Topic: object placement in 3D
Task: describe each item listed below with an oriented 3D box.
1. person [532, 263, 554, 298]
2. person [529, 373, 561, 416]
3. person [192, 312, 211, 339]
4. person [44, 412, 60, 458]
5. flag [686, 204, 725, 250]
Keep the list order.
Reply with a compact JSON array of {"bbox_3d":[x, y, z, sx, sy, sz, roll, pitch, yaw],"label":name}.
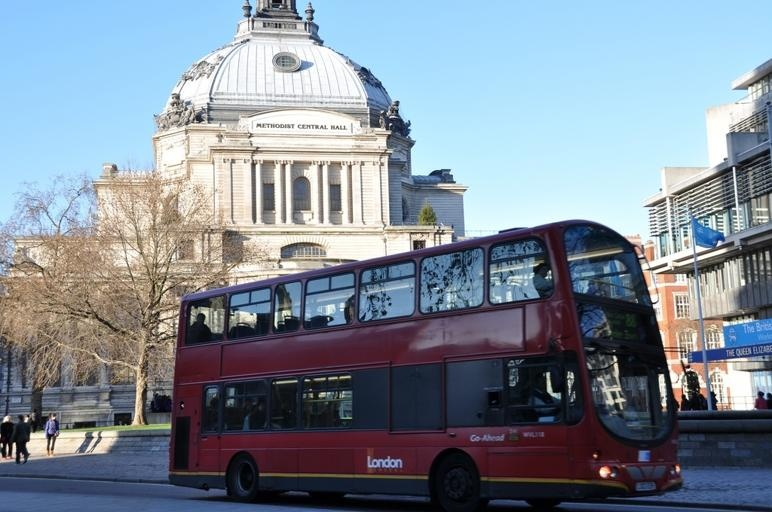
[{"bbox_3d":[4.020,0.607,23.853,0.575,0.514,1.106,-6,-51,14],"label":"person"},{"bbox_3d":[3.968,3.502,23.312,0.716,1.171,0.286,-7,-15,14],"label":"person"},{"bbox_3d":[-5.732,2.196,29.247,0.796,0.945,0.567,0,9,-1],"label":"person"},{"bbox_3d":[-16.022,8.582,44.917,0.483,2.036,1.267,2,-15,-19],"label":"person"},{"bbox_3d":[16.250,-1.226,47.388,1.441,1.812,1.626,-8,-15,18],"label":"flag"}]
